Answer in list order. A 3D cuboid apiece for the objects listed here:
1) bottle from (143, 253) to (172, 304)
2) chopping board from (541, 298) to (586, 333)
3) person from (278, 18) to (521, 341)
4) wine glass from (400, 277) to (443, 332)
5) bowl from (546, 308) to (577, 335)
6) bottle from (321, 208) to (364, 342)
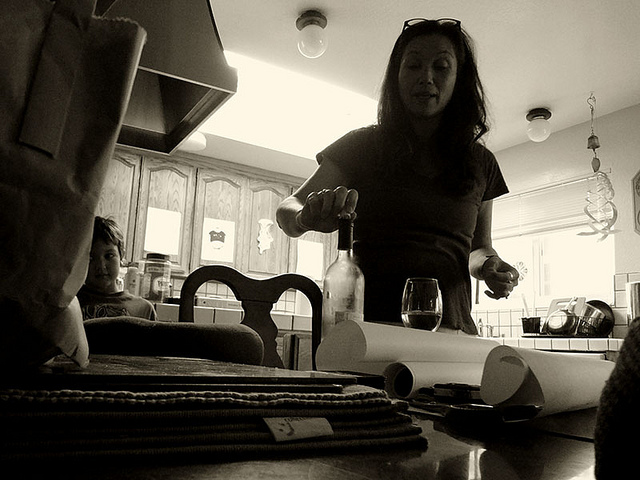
[{"bbox_3d":[-0.816,0.202,2.539,0.164,0.279,0.163,2,-3,0],"label":"bottle"},{"bbox_3d":[1.623,0.495,3.304,0.125,0.243,0.233,4,-6,-17],"label":"chopping board"},{"bbox_3d":[0.216,-0.156,1.098,0.583,0.706,0.254,8,-9,-32],"label":"person"},{"bbox_3d":[0.152,0.100,0.747,0.077,0.098,0.076,2,-11,-4],"label":"wine glass"},{"bbox_3d":[1.497,0.507,3.064,0.133,0.153,0.081,0,-27,46],"label":"bowl"},{"bbox_3d":[0.037,0.049,0.743,0.061,0.189,0.190,3,-8,0],"label":"bottle"}]
